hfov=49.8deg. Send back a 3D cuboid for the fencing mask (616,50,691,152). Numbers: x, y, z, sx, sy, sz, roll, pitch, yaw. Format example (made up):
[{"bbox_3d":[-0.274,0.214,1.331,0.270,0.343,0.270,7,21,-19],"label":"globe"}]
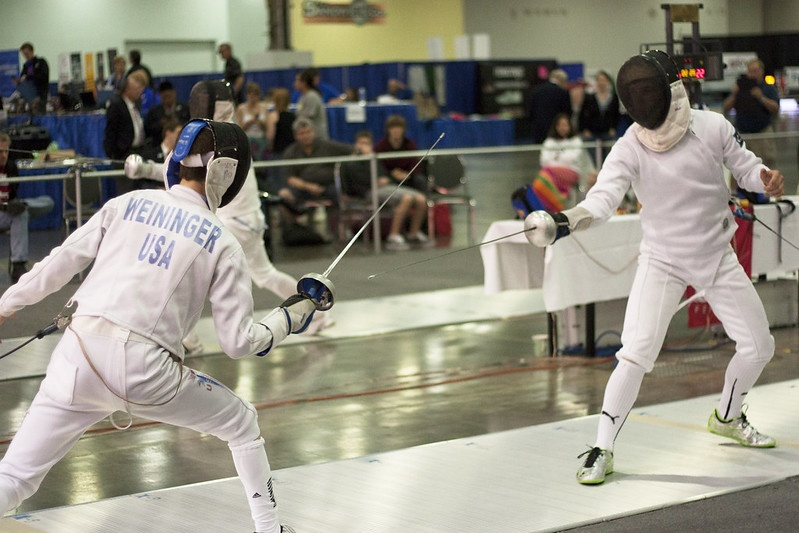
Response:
[{"bbox_3d":[1.250,-0.780,4.325,0.348,0.488,0.315,-11,-14,11],"label":"fencing mask"}]

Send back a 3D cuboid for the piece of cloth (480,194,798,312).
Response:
[{"bbox_3d":[1.722,-0.013,6.488,2.002,0.470,1.108,-7,10,-18],"label":"piece of cloth"}]

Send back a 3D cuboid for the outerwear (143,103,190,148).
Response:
[{"bbox_3d":[-2.310,-1.440,8.476,0.616,0.256,0.783,3,1,-14],"label":"outerwear"}]

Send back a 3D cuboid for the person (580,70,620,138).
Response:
[{"bbox_3d":[3.159,-2.452,13.579,0.829,1.462,0.359,4,-30,4],"label":"person"}]

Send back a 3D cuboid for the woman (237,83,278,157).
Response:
[{"bbox_3d":[-2.044,-1.821,12.061,0.498,1.384,0.448,-11,24,-26],"label":"woman"}]

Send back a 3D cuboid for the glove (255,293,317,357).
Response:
[{"bbox_3d":[-0.467,0.246,3.539,0.271,0.097,0.158,-32,59,-31],"label":"glove"}]

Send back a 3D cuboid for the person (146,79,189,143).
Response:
[{"bbox_3d":[-2.458,-1.481,8.949,0.399,0.994,0.310,3,48,-21],"label":"person"}]

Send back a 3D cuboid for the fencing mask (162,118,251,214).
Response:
[{"bbox_3d":[-0.768,-0.399,3.545,0.238,0.303,0.300,8,18,35],"label":"fencing mask"}]

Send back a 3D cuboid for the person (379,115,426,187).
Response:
[{"bbox_3d":[0.005,-1.163,9.046,0.545,0.811,0.632,-6,9,1],"label":"person"}]

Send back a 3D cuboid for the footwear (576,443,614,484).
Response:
[{"bbox_3d":[0.963,0.966,4.256,0.168,0.153,0.244,0,10,16],"label":"footwear"}]

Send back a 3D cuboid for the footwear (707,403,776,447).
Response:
[{"bbox_3d":[1.799,0.860,4.678,0.399,0.183,0.143,15,-3,14],"label":"footwear"}]
